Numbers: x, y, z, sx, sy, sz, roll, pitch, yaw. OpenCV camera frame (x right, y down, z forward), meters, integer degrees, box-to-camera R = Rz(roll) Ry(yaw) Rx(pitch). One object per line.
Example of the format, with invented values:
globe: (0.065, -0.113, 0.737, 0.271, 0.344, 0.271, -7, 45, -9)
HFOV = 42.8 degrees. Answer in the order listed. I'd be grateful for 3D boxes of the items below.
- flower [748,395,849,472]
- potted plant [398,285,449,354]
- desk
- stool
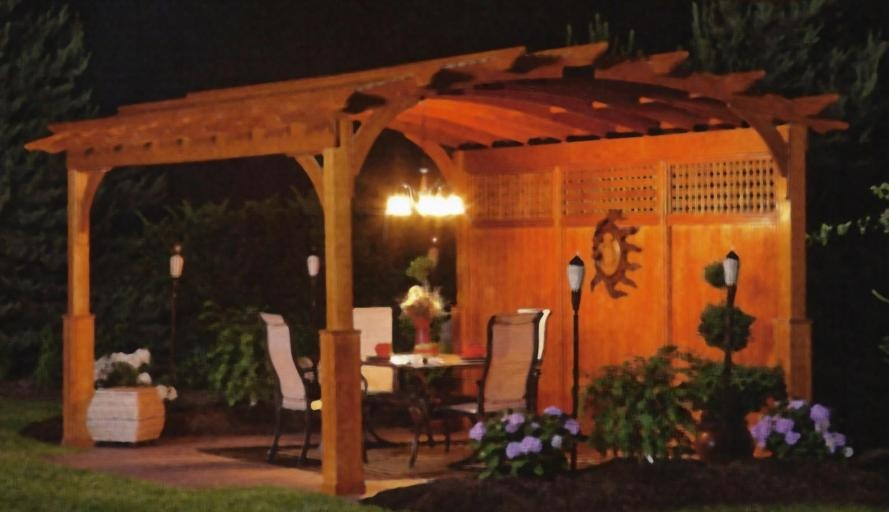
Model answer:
flower: (5.419, 2.561, 16.758, 1.372, 0.866, 0.392, -2, -11, 15)
potted plant: (-0.277, 1.011, 18.955, 1.078, 1.480, 1.053, -1, 3, 4)
desk: (-0.151, 2.373, 17.962, 1.948, 1.599, 1.848, 1, -3, -29)
stool: (-5.357, 2.534, 18.883, 0.999, 0.836, 1.267, 0, -2, 4)
